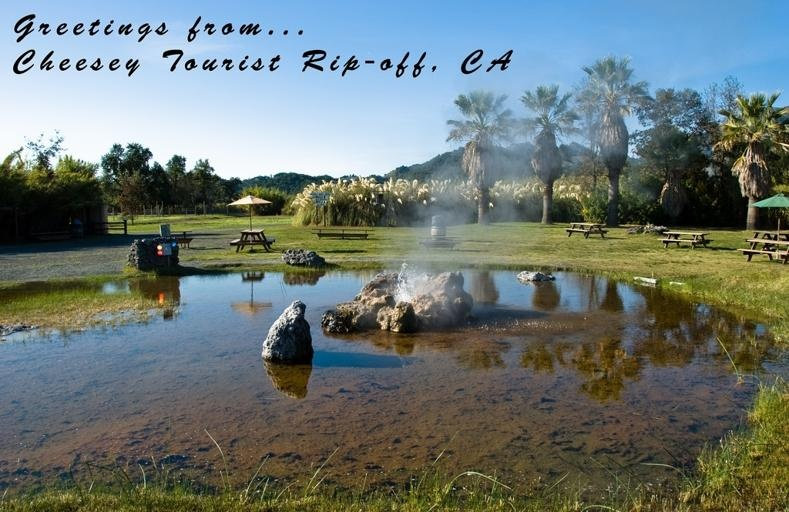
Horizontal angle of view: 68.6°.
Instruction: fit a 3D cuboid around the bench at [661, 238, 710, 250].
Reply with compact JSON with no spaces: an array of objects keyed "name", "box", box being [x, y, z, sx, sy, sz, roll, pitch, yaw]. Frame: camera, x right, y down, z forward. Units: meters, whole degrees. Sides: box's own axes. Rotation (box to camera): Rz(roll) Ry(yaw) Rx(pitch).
[{"name":"bench","box":[12.648,-0.669,25.130,1.568,0.585,2.440,6,11,34]}]
